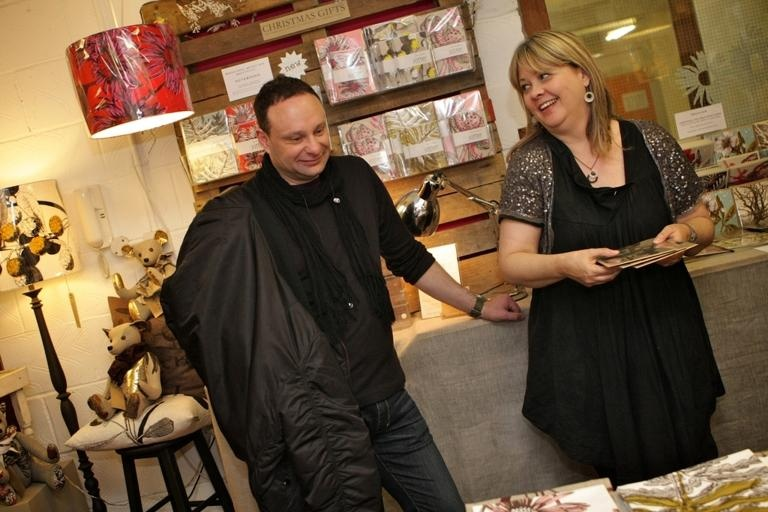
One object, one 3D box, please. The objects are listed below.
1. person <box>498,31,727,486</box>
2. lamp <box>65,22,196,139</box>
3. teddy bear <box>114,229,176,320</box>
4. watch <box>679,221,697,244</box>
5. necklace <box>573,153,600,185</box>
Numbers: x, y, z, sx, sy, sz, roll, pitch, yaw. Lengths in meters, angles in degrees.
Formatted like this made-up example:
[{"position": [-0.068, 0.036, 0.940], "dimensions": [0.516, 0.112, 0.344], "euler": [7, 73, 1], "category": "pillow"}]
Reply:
[{"position": [0.932, 0.011, 2.264], "dimensions": [0.916, 1.307, 0.424], "euler": [-17, 6, -9], "category": "person"}, {"position": [-1.347, -0.935, 3.109], "dimensions": [0.647, 0.519, 0.663], "euler": [-19, 1, 34], "category": "lamp"}, {"position": [-1.472, 0.111, 3.389], "dimensions": [0.378, 0.499, 0.363], "euler": [-19, 10, -32], "category": "teddy bear"}, {"position": [1.211, -0.091, 2.157], "dimensions": [0.027, 0.064, 0.068], "euler": [-28, 2, 15], "category": "watch"}, {"position": [0.841, -0.356, 2.242], "dimensions": [0.139, 0.166, 0.014], "euler": [-7, -31, -3], "category": "necklace"}]
